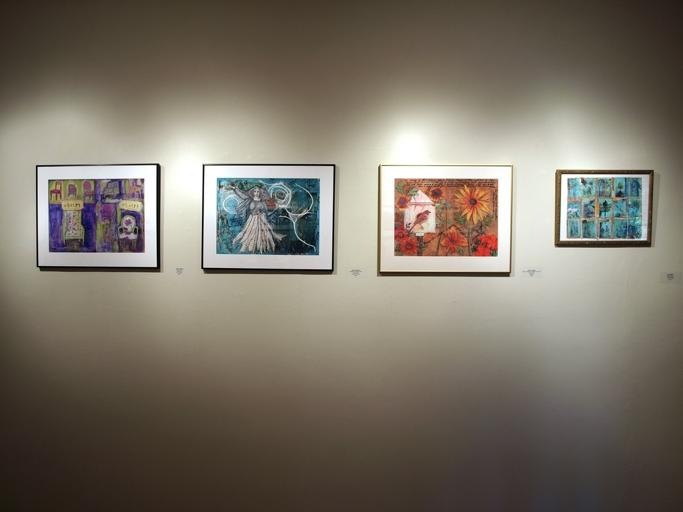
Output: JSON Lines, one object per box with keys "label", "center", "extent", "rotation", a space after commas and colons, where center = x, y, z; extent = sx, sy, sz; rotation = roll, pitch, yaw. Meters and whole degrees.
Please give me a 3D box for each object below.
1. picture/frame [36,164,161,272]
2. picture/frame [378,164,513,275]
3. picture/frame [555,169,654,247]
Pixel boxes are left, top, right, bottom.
{"label": "picture/frame", "center": [-1.400, -0.239, 3.202], "extent": [0.628, 0.605, 0.019], "rotation": [-1, -5, -12]}
{"label": "picture/frame", "center": [0.599, -0.235, 3.144], "extent": [0.521, 0.485, 0.013], "rotation": [0, 4, 1]}
{"label": "picture/frame", "center": [1.487, -0.297, 3.140], "extent": [0.365, 0.353, 0.019], "rotation": [0, 1, -5]}
